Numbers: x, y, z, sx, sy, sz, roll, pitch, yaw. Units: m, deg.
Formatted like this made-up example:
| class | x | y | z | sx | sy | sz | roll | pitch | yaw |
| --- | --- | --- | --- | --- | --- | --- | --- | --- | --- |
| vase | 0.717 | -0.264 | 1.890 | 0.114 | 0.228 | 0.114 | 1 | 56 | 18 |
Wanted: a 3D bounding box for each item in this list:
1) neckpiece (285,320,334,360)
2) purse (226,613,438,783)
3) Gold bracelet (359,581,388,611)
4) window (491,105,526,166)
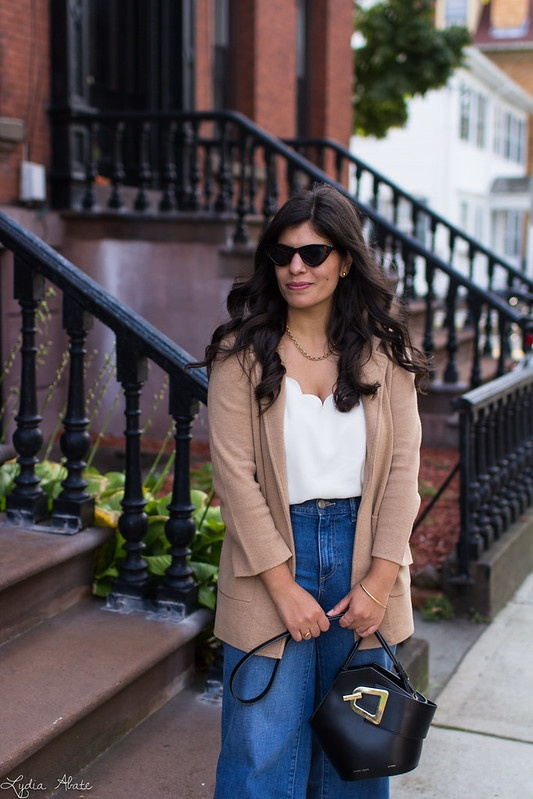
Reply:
| class | x | y | z | sx | sy | sz | roll | pitch | yaw |
| --- | --- | --- | --- | --- | --- | --- | --- | --- | --- |
| neckpiece | 0.093 | -0.121 | 1.869 | 0.017 | 0.093 | 0.066 | -34 | 27 | 38 |
| purse | 0.127 | 0.652 | 1.869 | 0.408 | 0.374 | 0.283 | 4 | -22 | 8 |
| Gold bracelet | 0.223 | 0.417 | 1.780 | 0.051 | 0.013 | 0.047 | 39 | -2 | 9 |
| window | 0.755 | -0.823 | 2.632 | 0.023 | 0.196 | 0.187 | -21 | 55 | -3 |
